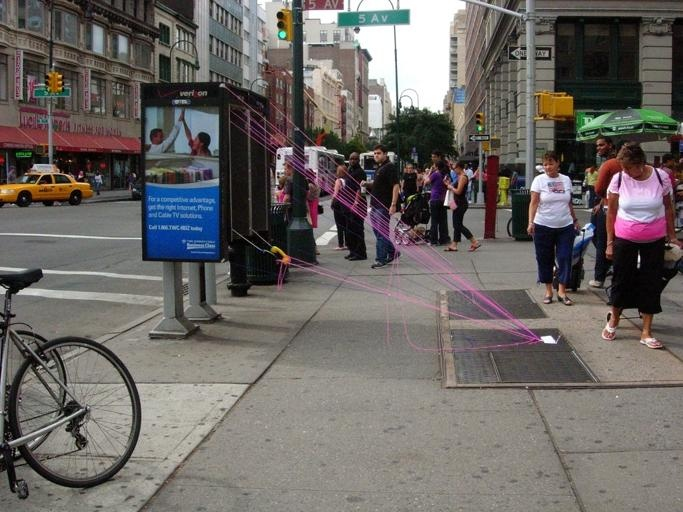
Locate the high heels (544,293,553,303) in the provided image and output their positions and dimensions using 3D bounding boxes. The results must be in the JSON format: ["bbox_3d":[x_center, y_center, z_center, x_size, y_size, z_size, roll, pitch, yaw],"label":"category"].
[{"bbox_3d":[2.689,0.535,10.223,0.114,0.111,0.300,2,10,19],"label":"high heels"}]

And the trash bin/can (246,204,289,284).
[{"bbox_3d":[-0.821,-0.178,12.179,0.592,1.176,1.224,1,6,11],"label":"trash bin/can"}]

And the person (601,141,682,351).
[{"bbox_3d":[3.074,-0.066,8.294,0.678,1.922,0.932,0,1,13],"label":"person"}]

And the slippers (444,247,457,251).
[{"bbox_3d":[2.249,-0.119,15.938,0.186,0.061,0.108,3,-1,-17],"label":"slippers"}]

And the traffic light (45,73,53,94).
[{"bbox_3d":[-14.700,-8.715,39.820,0.332,1.007,0.946,-5,10,-22],"label":"traffic light"}]

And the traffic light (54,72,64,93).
[{"bbox_3d":[-14.369,-8.693,39.649,0.765,1.067,1.063,-5,10,-22],"label":"traffic light"}]

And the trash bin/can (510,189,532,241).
[{"bbox_3d":[3.953,-0.924,17.849,0.619,1.027,0.648,2,6,37],"label":"trash bin/can"}]

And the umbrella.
[{"bbox_3d":[6.143,-2.731,16.701,1.703,0.987,1.436,3,4,15],"label":"umbrella"}]

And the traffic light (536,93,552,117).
[{"bbox_3d":[5.327,-3.936,20.664,0.326,0.640,0.412,-1,9,3],"label":"traffic light"}]

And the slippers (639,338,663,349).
[{"bbox_3d":[3.171,0.875,8.025,0.218,0.087,0.216,1,10,14],"label":"slippers"}]

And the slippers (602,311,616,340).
[{"bbox_3d":[2.846,0.736,8.384,0.106,0.337,0.086,-2,-34,23],"label":"slippers"}]

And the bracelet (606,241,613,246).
[{"bbox_3d":[2.951,-0.138,8.674,0.029,0.059,0.047,11,0,-2],"label":"bracelet"}]

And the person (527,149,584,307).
[{"bbox_3d":[2.735,-0.365,10.227,0.620,1.933,0.728,1,9,17],"label":"person"}]

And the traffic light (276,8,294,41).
[{"bbox_3d":[-1.090,-4.496,15.292,0.261,0.707,1.034,-2,9,-6],"label":"traffic light"}]

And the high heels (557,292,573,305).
[{"bbox_3d":[2.878,0.550,10.100,0.192,0.119,0.316,1,10,12],"label":"high heels"}]
